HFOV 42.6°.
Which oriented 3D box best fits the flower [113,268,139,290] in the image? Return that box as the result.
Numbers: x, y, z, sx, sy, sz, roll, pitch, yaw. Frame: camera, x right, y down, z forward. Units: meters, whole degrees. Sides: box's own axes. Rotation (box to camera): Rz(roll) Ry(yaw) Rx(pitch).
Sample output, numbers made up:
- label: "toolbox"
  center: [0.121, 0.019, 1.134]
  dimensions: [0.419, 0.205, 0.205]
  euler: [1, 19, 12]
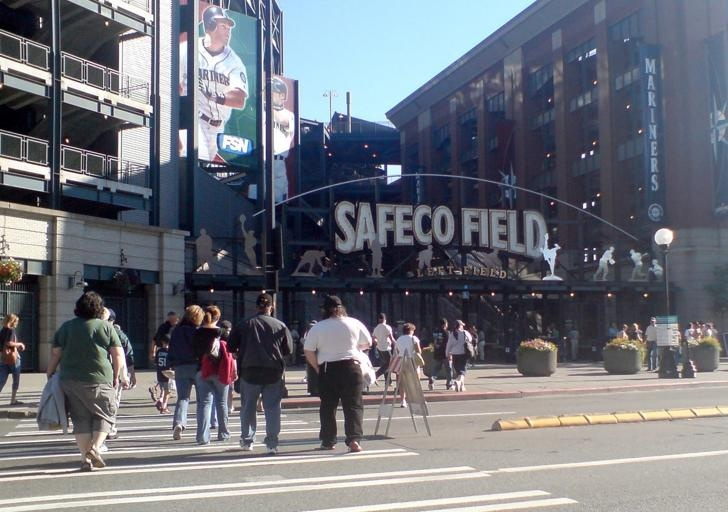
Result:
- label: "flower"
  center: [-10.041, 0.964, 39.360]
  dimensions: [0.989, 0.615, 0.534]
  euler: [7, -11, -13]

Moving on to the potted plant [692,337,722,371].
- label: "potted plant"
  center: [13.891, 4.036, 38.643]
  dimensions: [1.214, 1.320, 1.237]
  euler: [2, -3, -20]

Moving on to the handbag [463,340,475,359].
- label: "handbag"
  center: [3.462, 3.155, 31.667]
  dimensions: [0.455, 0.827, 0.202]
  euler: [1, 1, -25]

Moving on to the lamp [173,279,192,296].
- label: "lamp"
  center: [-8.162, 1.407, 41.656]
  dimensions: [0.411, 0.576, 0.620]
  euler: [8, -15, -40]

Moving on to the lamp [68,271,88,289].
- label: "lamp"
  center: [-11.396, 0.954, 37.478]
  dimensions: [0.554, 0.718, 0.817]
  euler: [-3, -9, 18]

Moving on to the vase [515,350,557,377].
- label: "vase"
  center: [6.708, 4.090, 36.054]
  dimensions: [1.110, 0.824, 1.108]
  euler: [3, -3, -34]
